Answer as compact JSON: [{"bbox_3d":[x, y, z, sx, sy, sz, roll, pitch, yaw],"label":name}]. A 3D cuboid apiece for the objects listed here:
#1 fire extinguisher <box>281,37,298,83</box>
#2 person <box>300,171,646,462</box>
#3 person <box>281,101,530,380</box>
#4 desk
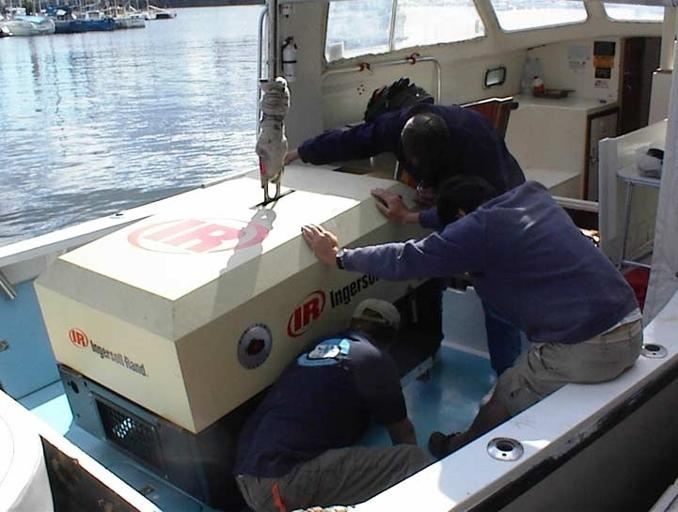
[{"bbox_3d":[-0.267,-1.041,2.759,0.080,0.216,0.055,-20,27,-39],"label":"fire extinguisher"},{"bbox_3d":[0.528,0.161,2.180,1.172,0.952,0.991,4,21,13],"label":"person"},{"bbox_3d":[0.330,-0.201,2.520,0.970,1.299,0.693,26,56,27],"label":"person"},{"bbox_3d":[1.701,-0.236,2.924,0.224,0.367,0.293,7,13,34],"label":"desk"}]
